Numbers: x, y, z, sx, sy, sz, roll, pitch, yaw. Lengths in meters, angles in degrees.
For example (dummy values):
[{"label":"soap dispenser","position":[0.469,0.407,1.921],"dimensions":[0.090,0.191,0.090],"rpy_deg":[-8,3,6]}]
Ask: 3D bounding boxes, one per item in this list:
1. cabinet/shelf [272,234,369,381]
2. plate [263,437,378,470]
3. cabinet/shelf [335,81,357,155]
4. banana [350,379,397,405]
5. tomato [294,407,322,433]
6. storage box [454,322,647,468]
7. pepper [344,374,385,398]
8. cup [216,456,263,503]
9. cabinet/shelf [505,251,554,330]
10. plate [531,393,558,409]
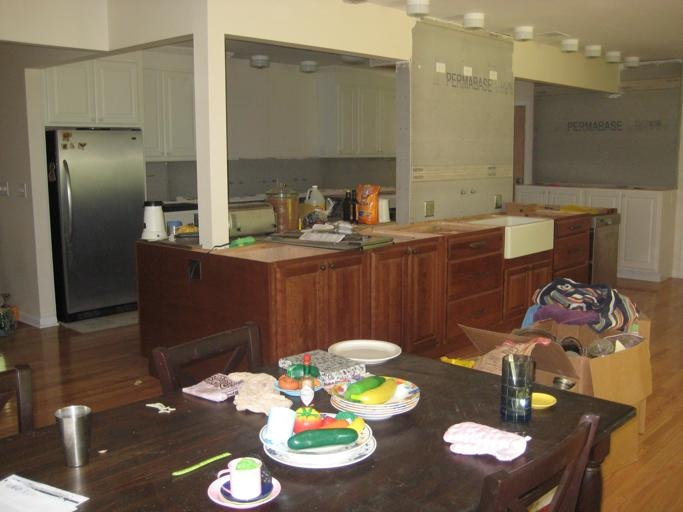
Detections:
[{"label":"cabinet/shelf","position":[-0.126,0.285,2.931],"dimensions":[0.265,0.608,0.683],"rpy_deg":[4,8,42]},{"label":"plate","position":[-0.056,0.539,1.431],"dimensions":[0.307,0.037,0.101],"rpy_deg":[-1,14,-8]},{"label":"cabinet/shelf","position":[0.059,-1.866,7.271],"dimensions":[0.319,0.941,0.105],"rpy_deg":[-11,19,-39]},{"label":"banana","position":[0.115,0.439,1.729],"dimensions":[0.050,0.067,0.195],"rpy_deg":[-4,6,39]},{"label":"tomato","position":[-0.099,0.470,1.511],"dimensions":[0.061,0.058,0.061],"rpy_deg":[6,17,17]},{"label":"storage box","position":[1.110,0.679,2.877],"dimensions":[1.081,0.777,0.789],"rpy_deg":[-4,5,-42]},{"label":"pepper","position":[0.074,0.414,1.721],"dimensions":[0.124,0.045,0.055],"rpy_deg":[-13,44,-29]},{"label":"cup","position":[-0.249,0.537,1.271],"dimensions":[0.064,0.065,0.099],"rpy_deg":[-5,4,-40]},{"label":"cabinet/shelf","position":[1.471,0.282,4.218],"dimensions":[0.633,0.570,0.357],"rpy_deg":[-11,13,-44]},{"label":"plate","position":[0.661,0.482,1.738],"dimensions":[0.071,0.012,0.071],"rpy_deg":[0,11,9]}]
